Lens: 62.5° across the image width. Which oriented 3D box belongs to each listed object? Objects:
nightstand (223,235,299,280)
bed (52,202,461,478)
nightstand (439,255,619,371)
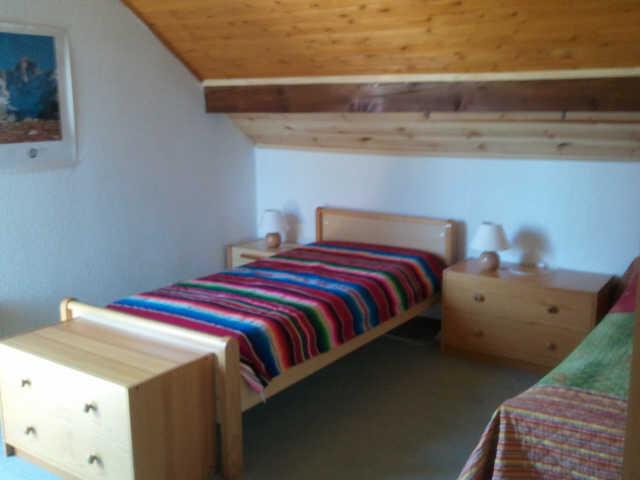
[{"bbox_3d":[-0.597,0.095,4.876,0.549,0.404,0.300,5,8,33],"label":"nightstand"},{"bbox_3d":[-0.137,0.379,3.440,1.419,0.992,2.568,9,17,32],"label":"bed"},{"bbox_3d":[1.441,0.554,3.707,1.021,0.657,0.559,6,17,37],"label":"nightstand"}]
